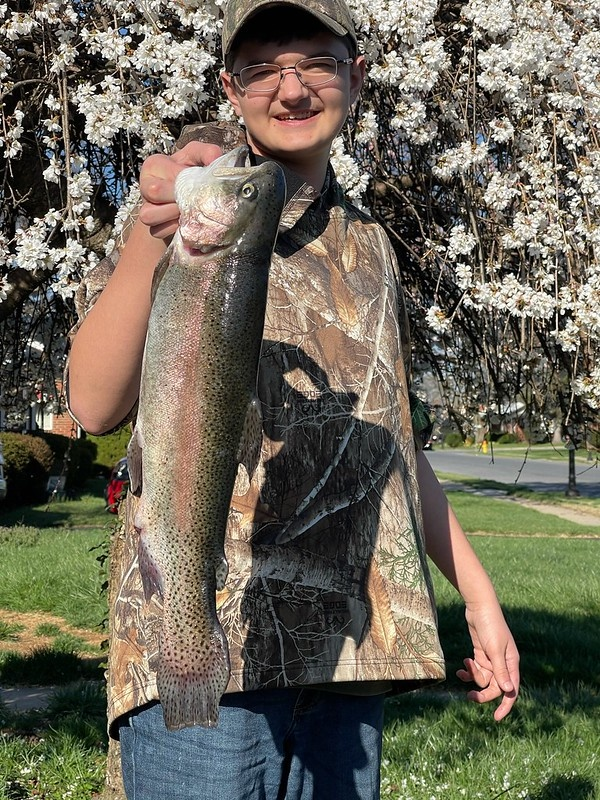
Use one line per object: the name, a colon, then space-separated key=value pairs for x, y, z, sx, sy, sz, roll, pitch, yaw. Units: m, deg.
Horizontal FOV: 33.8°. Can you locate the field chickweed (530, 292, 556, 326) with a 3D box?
field chickweed: x=0.980 y=-0.382 z=3.975 sx=0.093 sy=0.104 sz=0.171 roll=2 pitch=5 yaw=14

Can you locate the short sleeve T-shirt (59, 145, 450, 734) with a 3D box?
short sleeve T-shirt: x=0.017 y=0.019 z=2.062 sx=0.840 sy=1.076 sz=0.347 roll=-1 pitch=2 yaw=-40

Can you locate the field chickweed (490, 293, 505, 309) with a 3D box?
field chickweed: x=0.795 y=-0.405 z=3.976 sx=0.051 sy=0.070 sz=0.031 roll=-4 pitch=-9 yaw=13

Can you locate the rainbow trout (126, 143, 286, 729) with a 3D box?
rainbow trout: x=-0.163 y=0.070 z=1.742 sx=0.257 sy=1.018 sz=0.124 roll=0 pitch=5 yaw=-2

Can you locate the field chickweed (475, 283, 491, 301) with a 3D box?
field chickweed: x=0.721 y=-0.431 z=3.952 sx=0.023 sy=0.068 sz=0.066 roll=4 pitch=-35 yaw=-23

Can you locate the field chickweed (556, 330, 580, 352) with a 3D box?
field chickweed: x=1.095 y=-0.244 z=4.028 sx=0.094 sy=0.084 sz=0.043 roll=-15 pitch=-12 yaw=-8

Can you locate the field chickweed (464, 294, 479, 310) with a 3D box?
field chickweed: x=0.708 y=-0.405 z=4.066 sx=0.065 sy=0.061 sz=0.029 roll=24 pitch=-54 yaw=-34
